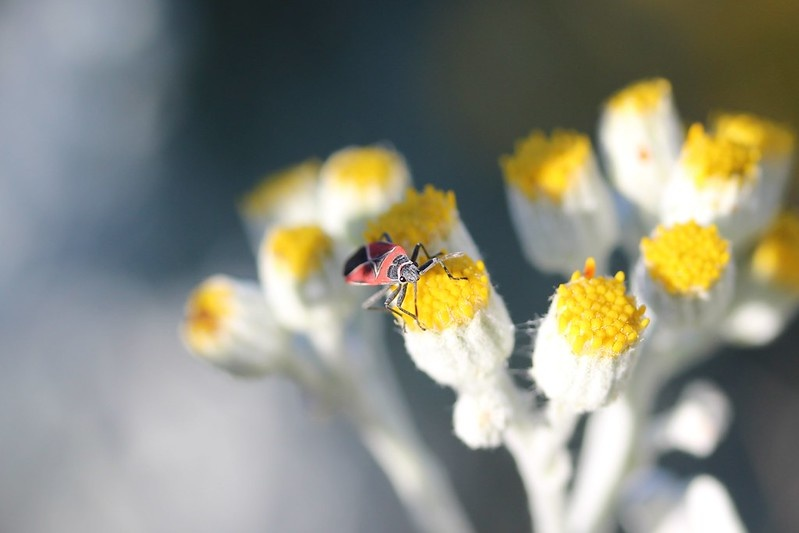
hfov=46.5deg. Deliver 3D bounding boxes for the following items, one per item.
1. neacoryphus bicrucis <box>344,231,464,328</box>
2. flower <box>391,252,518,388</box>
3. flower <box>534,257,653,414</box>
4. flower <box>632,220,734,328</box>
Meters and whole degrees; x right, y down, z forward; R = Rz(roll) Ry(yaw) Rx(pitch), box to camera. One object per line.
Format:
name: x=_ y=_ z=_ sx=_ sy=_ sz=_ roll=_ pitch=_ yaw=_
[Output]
neacoryphus bicrucis: x=-0.003 y=0.023 z=1.654 sx=0.215 sy=0.064 sz=0.173 roll=8 pitch=49 yaw=16
flower: x=0.113 y=0.091 z=1.677 sx=0.165 sy=0.242 sz=0.233 roll=-28 pitch=14 yaw=6
flower: x=0.334 y=0.143 z=1.665 sx=0.161 sy=0.261 sz=0.188 roll=16 pitch=49 yaw=12
flower: x=0.519 y=0.004 z=1.683 sx=0.189 sy=0.172 sz=0.151 roll=3 pitch=53 yaw=5
